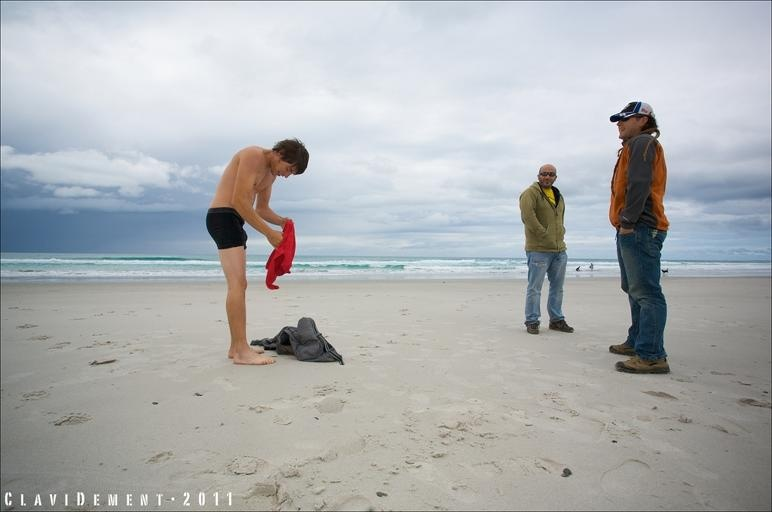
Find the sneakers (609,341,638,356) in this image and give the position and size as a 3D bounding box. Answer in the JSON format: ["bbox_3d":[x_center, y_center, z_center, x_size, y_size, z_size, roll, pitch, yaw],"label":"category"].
[{"bbox_3d":[2.847,1.105,6.625,0.288,0.121,0.114,4,1,24],"label":"sneakers"}]

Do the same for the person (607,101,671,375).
[{"bbox_3d":[2.778,-0.242,6.053,0.633,2.976,0.802,0,3,23],"label":"person"}]

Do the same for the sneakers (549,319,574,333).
[{"bbox_3d":[2.494,0.982,7.718,0.383,0.150,0.136,-1,0,31],"label":"sneakers"}]

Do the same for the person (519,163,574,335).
[{"bbox_3d":[2.240,-0.110,7.745,0.654,2.303,0.847,1,4,35],"label":"person"}]

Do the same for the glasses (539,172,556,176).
[{"bbox_3d":[2.258,-1.152,7.735,0.216,0.073,0.170,0,2,9],"label":"glasses"}]

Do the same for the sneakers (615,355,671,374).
[{"bbox_3d":[2.756,1.154,6.031,0.582,0.248,0.209,2,-6,9],"label":"sneakers"}]
